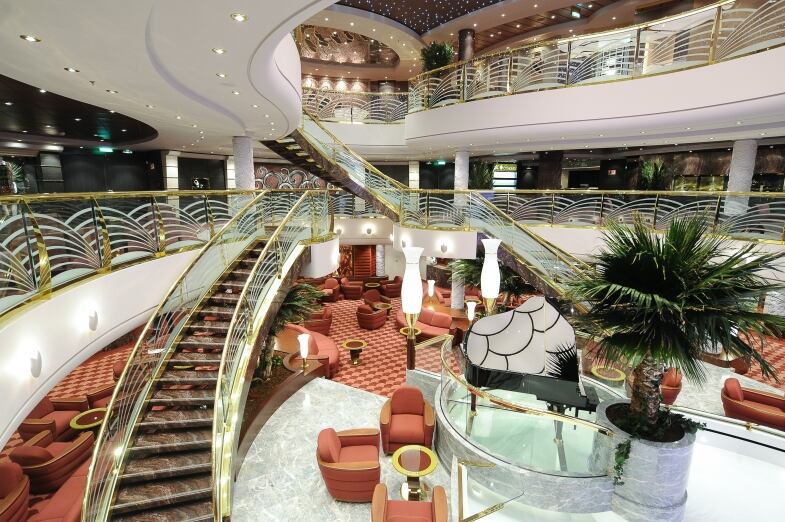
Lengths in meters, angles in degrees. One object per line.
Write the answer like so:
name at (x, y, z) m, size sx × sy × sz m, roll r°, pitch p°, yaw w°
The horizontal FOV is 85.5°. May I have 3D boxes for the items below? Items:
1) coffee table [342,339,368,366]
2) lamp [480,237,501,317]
coffee table at (-1.147, 2.801, 13.240) m, size 0.723 × 0.469 × 0.693 m, roll 10°, pitch 25°, yaw 18°
lamp at (2.054, 0.370, 8.768) m, size 0.338 × 1.648 × 0.573 m, roll 0°, pitch 12°, yaw 13°
